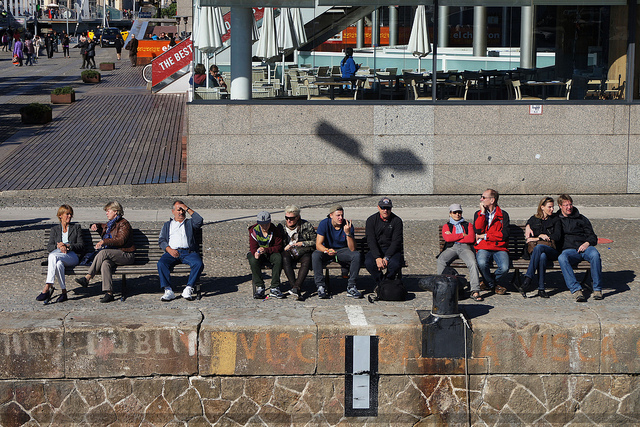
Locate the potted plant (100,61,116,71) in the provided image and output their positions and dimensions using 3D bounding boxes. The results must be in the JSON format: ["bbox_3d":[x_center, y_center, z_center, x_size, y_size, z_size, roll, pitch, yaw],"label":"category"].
[{"bbox_3d":[-9.396,-6.543,61.015,0.508,0.337,0.524,-1,6,-1],"label":"potted plant"}]

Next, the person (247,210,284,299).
[{"bbox_3d":[-1.168,0.943,30.067,0.818,1.840,0.773,-3,10,-3],"label":"person"}]

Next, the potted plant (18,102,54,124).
[{"bbox_3d":[-8.994,-3.169,43.981,0.748,0.522,0.783,0,6,-3],"label":"potted plant"}]

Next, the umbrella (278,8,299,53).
[{"bbox_3d":[-0.923,-5.272,39.234,0.560,1.179,0.865,2,12,24],"label":"umbrella"}]

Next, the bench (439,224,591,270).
[{"bbox_3d":[4.295,0.981,30.521,3.424,1.275,1.083,0,12,11],"label":"bench"}]

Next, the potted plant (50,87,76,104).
[{"bbox_3d":[-8.835,-4.069,47.420,0.595,0.464,0.594,0,3,5],"label":"potted plant"}]

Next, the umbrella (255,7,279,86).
[{"bbox_3d":[-1.465,-4.932,38.640,0.630,1.687,1.524,-4,11,-8],"label":"umbrella"}]

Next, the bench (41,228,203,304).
[{"bbox_3d":[-4.297,1.112,30.277,3.385,1.551,1.158,-2,11,2],"label":"bench"}]

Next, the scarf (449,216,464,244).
[{"bbox_3d":[3.017,0.419,30.305,0.381,0.571,0.147,-2,-5,2],"label":"scarf"}]

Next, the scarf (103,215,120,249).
[{"bbox_3d":[-4.589,0.459,30.252,0.430,0.621,0.226,0,-4,7],"label":"scarf"}]

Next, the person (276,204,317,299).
[{"bbox_3d":[-0.527,0.821,29.974,0.949,1.514,2.406,-3,23,2],"label":"person"}]

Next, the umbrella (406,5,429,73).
[{"bbox_3d":[2.584,-4.657,36.562,0.551,1.773,0.217,-2,10,2],"label":"umbrella"}]

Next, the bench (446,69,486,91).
[{"bbox_3d":[3.902,-3.570,36.695,1.035,0.560,0.360,-1,11,7],"label":"bench"}]

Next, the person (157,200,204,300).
[{"bbox_3d":[-3.054,0.836,30.096,1.007,2.001,1.108,-3,11,-6],"label":"person"}]

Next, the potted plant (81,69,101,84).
[{"bbox_3d":[-9.088,-5.431,54.311,0.596,0.425,0.629,1,8,17],"label":"potted plant"}]

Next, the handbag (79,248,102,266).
[{"bbox_3d":[-5.041,1.015,30.334,0.338,0.198,0.459,-13,29,28],"label":"handbag"}]

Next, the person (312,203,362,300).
[{"bbox_3d":[0.357,0.886,30.187,1.042,1.929,0.894,-3,10,-1],"label":"person"}]

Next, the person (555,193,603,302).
[{"bbox_3d":[5.696,0.762,30.195,0.929,2.125,1.337,-5,11,-13],"label":"person"}]

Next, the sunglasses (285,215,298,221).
[{"bbox_3d":[-0.641,0.128,30.337,0.259,0.100,0.129,3,12,28],"label":"sunglasses"}]

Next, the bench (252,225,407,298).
[{"bbox_3d":[0.242,1.115,30.575,3.187,1.479,1.082,-1,12,4],"label":"bench"}]
